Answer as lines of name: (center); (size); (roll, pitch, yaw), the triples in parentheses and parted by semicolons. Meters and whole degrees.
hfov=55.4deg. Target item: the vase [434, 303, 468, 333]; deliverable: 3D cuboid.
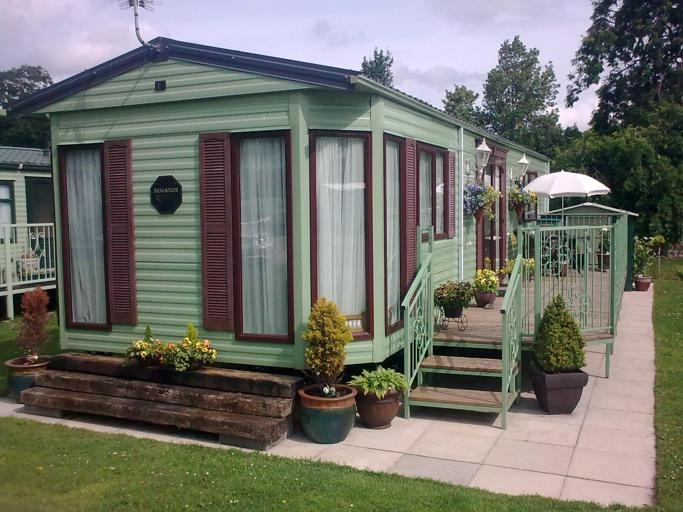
vase: (1.752, 1.000, 10.377); (0.349, 0.475, 0.498); (1, 2, 15)

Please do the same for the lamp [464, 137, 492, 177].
lamp: (2.694, -1.923, 12.725); (0.381, 0.743, 0.952); (2, 9, 17)

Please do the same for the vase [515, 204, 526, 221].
vase: (4.383, -1.077, 15.919); (0.238, 0.332, 0.085); (-11, 13, -42)

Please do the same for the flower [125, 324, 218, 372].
flower: (-2.273, 1.329, 8.890); (1.027, 0.707, 0.853); (2, 3, -17)

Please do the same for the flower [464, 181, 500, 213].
flower: (2.641, -1.117, 12.425); (0.700, 0.604, 0.601); (-12, 16, -43)

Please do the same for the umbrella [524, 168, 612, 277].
umbrella: (4.432, -0.815, 12.912); (1.152, 1.683, 1.047); (1, 2, 37)

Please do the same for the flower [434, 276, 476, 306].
flower: (1.738, 0.557, 10.205); (0.447, 0.314, 0.452); (0, 1, -23)

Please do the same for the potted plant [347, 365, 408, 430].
potted plant: (0.522, 1.809, 8.593); (0.711, 0.790, 0.670); (4, 7, 4)

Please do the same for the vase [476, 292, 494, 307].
vase: (2.541, 0.757, 11.483); (0.279, 0.213, 0.284); (0, 0, 18)

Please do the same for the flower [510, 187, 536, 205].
flower: (4.280, -1.382, 15.327); (0.461, 0.330, 0.516); (-1, 4, -33)

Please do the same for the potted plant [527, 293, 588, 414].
potted plant: (2.959, 1.368, 8.830); (0.707, 1.574, 0.487); (2, 8, 17)

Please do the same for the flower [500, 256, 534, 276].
flower: (3.230, 0.201, 12.011); (0.456, 0.271, 0.461); (-1, 0, -5)

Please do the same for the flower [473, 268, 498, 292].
flower: (2.577, 0.443, 11.573); (0.421, 0.424, 0.419); (3, 0, -42)

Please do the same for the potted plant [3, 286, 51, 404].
potted plant: (-4.604, 1.266, 9.748); (0.754, 1.821, 0.647); (10, 15, 40)
